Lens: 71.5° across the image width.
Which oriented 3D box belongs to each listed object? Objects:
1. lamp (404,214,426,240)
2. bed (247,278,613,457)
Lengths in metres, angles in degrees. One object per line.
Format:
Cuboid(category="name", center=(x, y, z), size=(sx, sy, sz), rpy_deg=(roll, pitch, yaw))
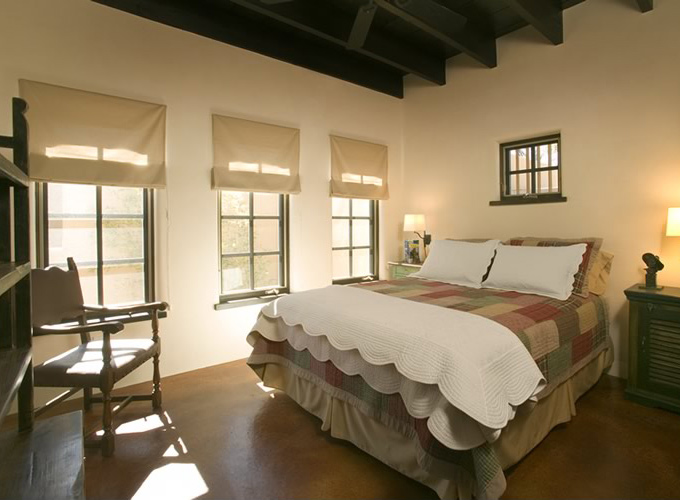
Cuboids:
Cuboid(category="lamp", center=(0.954, -0.309, 5.993), size=(0.268, 0.332, 0.284), rpy_deg=(-2, -12, 10))
Cuboid(category="bed", center=(0.526, 0.665, 3.501), size=(1.511, 0.415, 1.500), rpy_deg=(-3, 5, -41))
